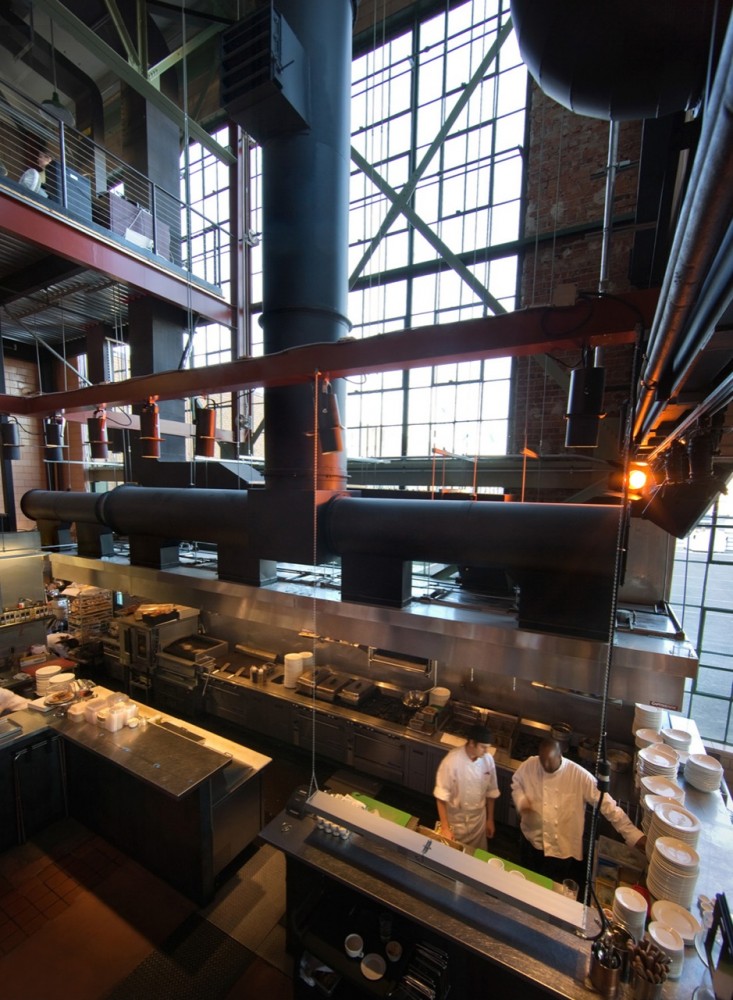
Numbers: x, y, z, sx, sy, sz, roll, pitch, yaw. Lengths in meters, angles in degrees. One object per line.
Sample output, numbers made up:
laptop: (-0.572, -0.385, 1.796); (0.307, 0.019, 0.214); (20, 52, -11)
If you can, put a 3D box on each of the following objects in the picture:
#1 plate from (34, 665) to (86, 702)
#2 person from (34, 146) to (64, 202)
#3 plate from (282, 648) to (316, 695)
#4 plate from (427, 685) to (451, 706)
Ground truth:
plate: (-2.147, 1.277, 5.089); (0.231, 0.102, 0.234); (2, 9, -11)
person: (-2.811, -2.916, 6.410); (0.181, 0.504, 0.974); (-2, 15, -23)
plate: (-0.527, 1.299, 5.661); (0.232, 0.240, 0.377); (3, 13, -5)
plate: (0.498, 1.362, 5.073); (0.117, 0.114, 0.117); (-6, 8, -41)
